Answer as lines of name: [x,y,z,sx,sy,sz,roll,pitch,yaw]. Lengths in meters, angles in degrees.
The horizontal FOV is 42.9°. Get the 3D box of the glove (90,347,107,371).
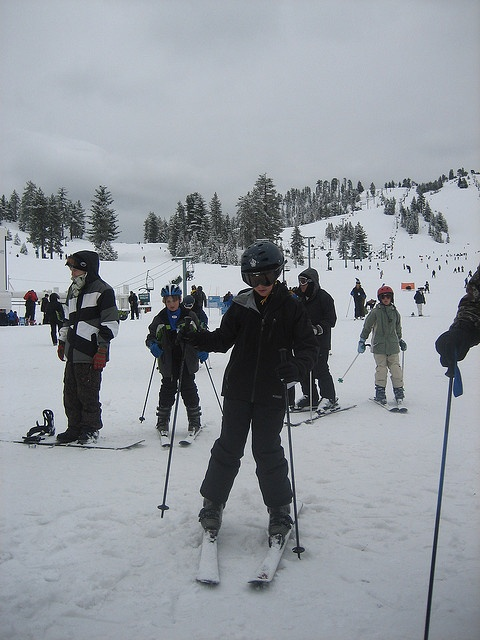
glove: [-1.327,0.373,5.764,0.130,0.200,0.054,-7,-18,44]

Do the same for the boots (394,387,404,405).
boots: [2.069,0.979,7.971,0.075,0.149,0.247,-6,-6,13]

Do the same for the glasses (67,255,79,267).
glasses: [-1.593,-0.557,5.812,0.076,0.094,0.113,2,0,-8]

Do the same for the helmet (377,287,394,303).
helmet: [1.961,-0.337,8.222,0.161,0.225,0.233,0,-1,7]

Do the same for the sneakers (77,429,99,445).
sneakers: [-1.450,1.132,5.843,0.072,0.112,0.236,1,-22,-2]

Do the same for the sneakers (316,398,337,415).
sneakers: [1.085,1.079,7.610,0.112,0.150,0.345,-11,-8,26]

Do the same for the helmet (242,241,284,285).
helmet: [0.157,-0.364,3.928,0.218,0.285,0.286,1,29,8]

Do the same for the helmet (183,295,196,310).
helmet: [-0.760,-0.266,9.213,0.179,0.282,0.258,2,-4,-4]

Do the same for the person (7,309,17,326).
person: [-8.803,-0.043,23.732,0.329,0.447,0.859,-1,4,-18]

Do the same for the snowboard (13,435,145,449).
snowboard: [-1.578,1.187,5.828,1.267,0.091,0.414,0,4,-3]

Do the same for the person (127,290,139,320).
person: [-4.508,-0.598,26.173,0.369,1.140,2.565,0,4,-10]

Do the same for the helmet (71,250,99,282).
helmet: [-1.553,-0.531,5.993,0.234,0.294,0.279,7,1,28]

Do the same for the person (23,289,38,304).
person: [-7.541,-0.850,21.981,0.377,0.518,1.125,0,8,-20]

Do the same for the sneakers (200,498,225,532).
sneakers: [-0.183,1.245,3.851,0.083,0.125,0.272,14,-15,3]

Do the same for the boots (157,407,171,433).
boots: [-0.786,1.027,6.303,0.146,0.280,0.215,3,-14,-8]

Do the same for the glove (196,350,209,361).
glove: [-0.330,0.334,5.478,0.131,0.109,0.167,-7,-6,0]

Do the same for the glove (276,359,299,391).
glove: [0.297,0.307,3.669,0.099,0.142,0.160,3,5,34]

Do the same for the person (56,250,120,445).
person: [-1.466,0.258,5.894,0.554,1.823,0.404,0,3,1]

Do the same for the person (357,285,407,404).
person: [1.958,0.325,8.405,0.611,1.573,1.075,1,4,16]

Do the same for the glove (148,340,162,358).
glove: [-0.866,0.313,6.268,0.054,0.171,0.119,-17,14,-2]

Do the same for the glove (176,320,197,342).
glove: [-0.392,0.086,4.484,0.086,0.125,0.118,23,-21,3]
